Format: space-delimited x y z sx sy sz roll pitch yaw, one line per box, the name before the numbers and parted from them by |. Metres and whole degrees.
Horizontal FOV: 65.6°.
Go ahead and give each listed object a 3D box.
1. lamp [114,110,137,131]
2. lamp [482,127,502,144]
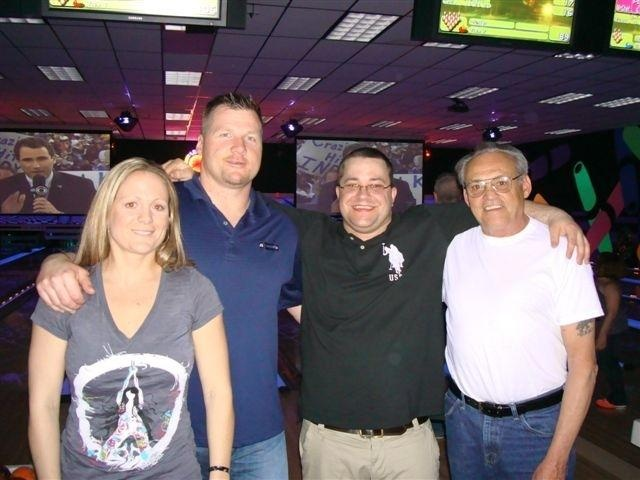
lamp | -4.573 -2.759 11.723 0.495 0.378 0.463 5 16 19
lamp | 4.481 -2.706 12.954 0.392 0.348 0.676 1 6 14
